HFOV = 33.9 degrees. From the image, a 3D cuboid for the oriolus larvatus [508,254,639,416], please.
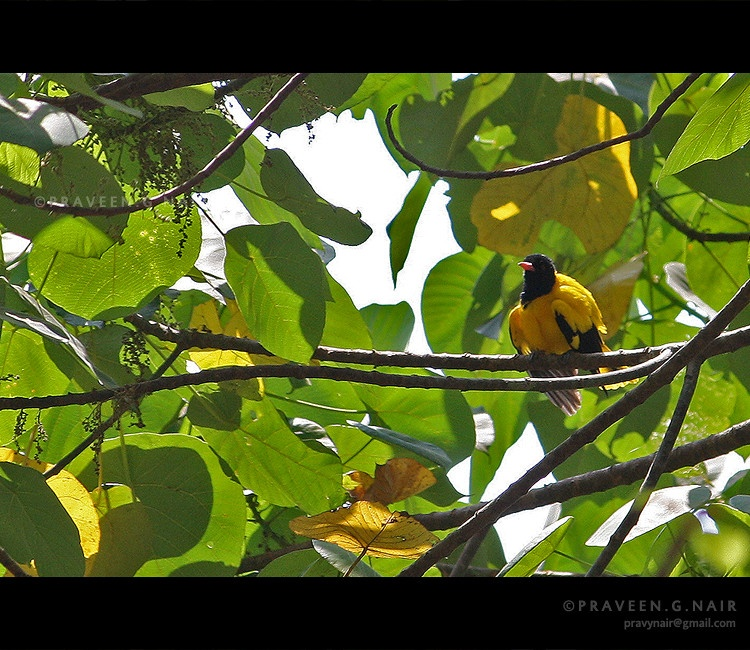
[{"bbox_3d":[0.395,0.014,2.354,0.356,0.208,0.164,20,-20,-28],"label":"oriolus larvatus"}]
